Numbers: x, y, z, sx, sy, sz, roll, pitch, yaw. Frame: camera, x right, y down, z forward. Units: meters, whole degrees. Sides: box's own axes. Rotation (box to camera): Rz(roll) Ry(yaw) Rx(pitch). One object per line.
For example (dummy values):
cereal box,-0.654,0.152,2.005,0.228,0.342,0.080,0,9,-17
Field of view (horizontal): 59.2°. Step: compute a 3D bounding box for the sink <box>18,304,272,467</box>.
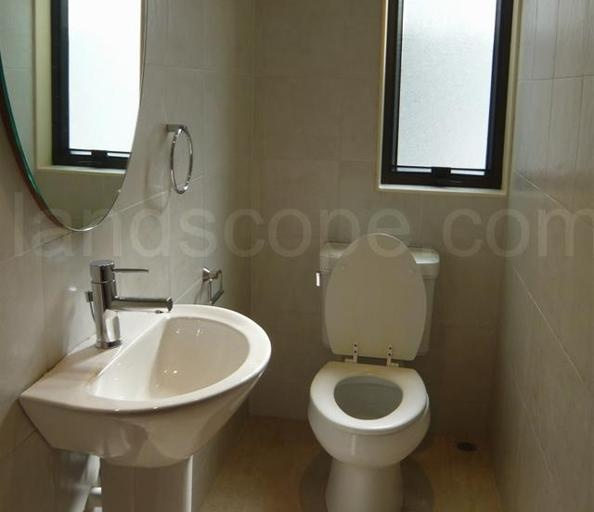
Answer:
sink,-0.304,0.309,1.282,0.457,0.234,0.532,3,11,13
